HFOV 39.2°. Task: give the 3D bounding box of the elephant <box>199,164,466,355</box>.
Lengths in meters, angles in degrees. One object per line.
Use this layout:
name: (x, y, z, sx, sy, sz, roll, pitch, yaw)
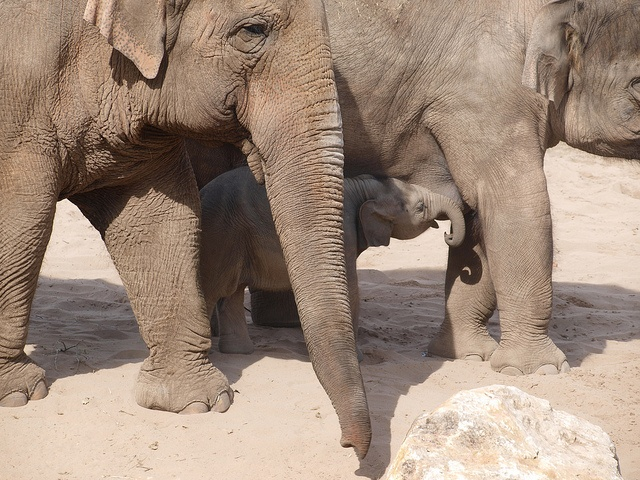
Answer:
elephant: (-0.005, 0.157, 5.771, 2.180, 1.068, 0.646, -2, 4, -29)
